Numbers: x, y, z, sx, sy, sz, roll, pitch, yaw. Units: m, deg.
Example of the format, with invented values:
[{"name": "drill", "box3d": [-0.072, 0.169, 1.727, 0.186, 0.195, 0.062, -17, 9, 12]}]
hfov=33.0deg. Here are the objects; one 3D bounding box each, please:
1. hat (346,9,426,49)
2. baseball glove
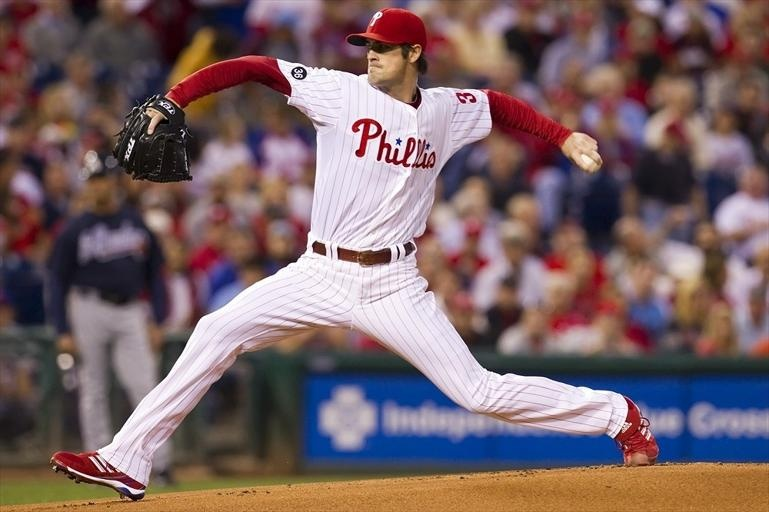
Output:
[{"name": "hat", "box3d": [0.048, -1.657, 9.682, 0.446, 0.247, 0.314, -1, 5, -23]}, {"name": "baseball glove", "box3d": [-1.682, -0.882, 9.702, 0.468, 0.602, 0.648, 18, 4, 23]}]
